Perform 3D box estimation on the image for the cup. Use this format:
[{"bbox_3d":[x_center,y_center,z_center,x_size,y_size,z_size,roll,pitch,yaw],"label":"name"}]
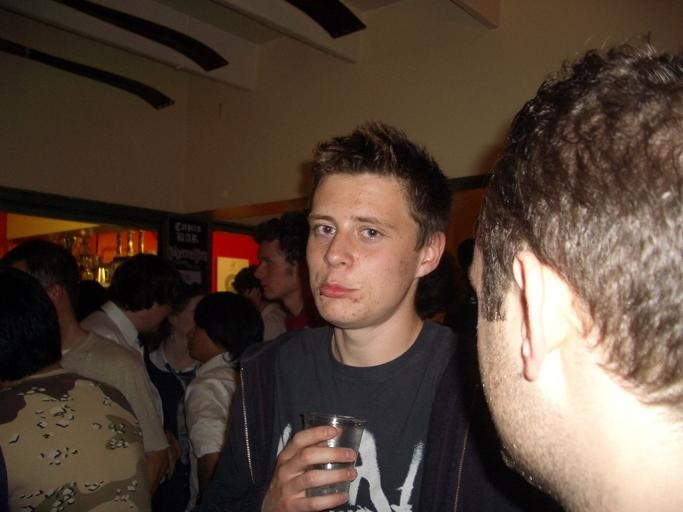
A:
[{"bbox_3d":[0.000,0.611,1.727,0.205,0.247,0.224,4,-20,2],"label":"cup"}]
